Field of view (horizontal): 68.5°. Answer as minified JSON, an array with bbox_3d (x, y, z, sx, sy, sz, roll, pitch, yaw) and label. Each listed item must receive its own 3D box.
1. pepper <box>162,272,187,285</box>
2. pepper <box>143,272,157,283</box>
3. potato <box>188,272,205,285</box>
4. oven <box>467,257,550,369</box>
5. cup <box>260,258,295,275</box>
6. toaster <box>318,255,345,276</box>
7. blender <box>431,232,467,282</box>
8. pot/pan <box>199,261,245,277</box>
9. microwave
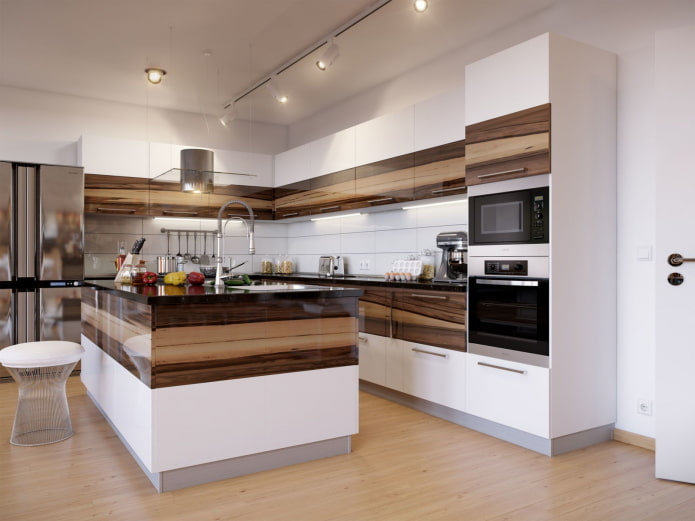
[{"bbox_3d":[-1.343,0.136,3.939,0.089,0.080,0.178,23,-17,-35],"label":"pepper"},{"bbox_3d":[-1.604,0.151,4.165,0.097,0.041,0.095,5,6,8],"label":"pepper"},{"bbox_3d":[-1.173,0.139,3.916,0.099,0.071,0.120,2,-2,-36],"label":"potato"},{"bbox_3d":[1.202,0.338,3.754,0.579,0.530,0.393,5,14,33],"label":"oven"},{"bbox_3d":[-0.968,0.080,6.973,0.376,0.169,0.216,2,0,19],"label":"cup"},{"bbox_3d":[-0.204,0.072,6.145,0.221,0.341,0.402,5,-7,-35],"label":"toaster"},{"bbox_3d":[0.902,-0.046,4.420,0.410,0.457,0.265,-4,-4,43],"label":"blender"},{"bbox_3d":[-1.571,0.125,6.373,0.543,0.191,0.320,1,-2,-11],"label":"pot/pan"},{"bbox_3d":[1.150,-0.305,3.593,0.335,0.367,0.569,3,-2,-34],"label":"microwave"}]
